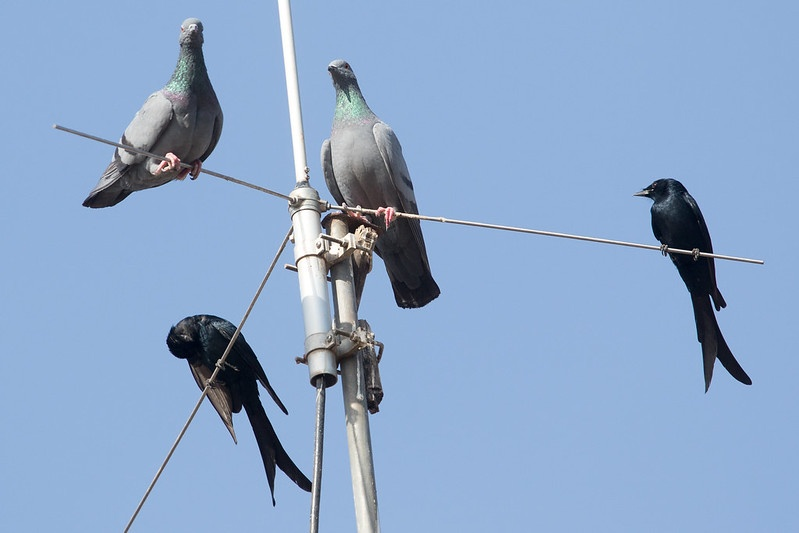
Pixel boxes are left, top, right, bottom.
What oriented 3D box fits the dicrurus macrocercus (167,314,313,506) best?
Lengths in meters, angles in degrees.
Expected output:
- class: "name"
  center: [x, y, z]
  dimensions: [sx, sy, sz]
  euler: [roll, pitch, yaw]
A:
- class: "dicrurus macrocercus"
  center: [-1.530, 1.176, 13.290]
  dimensions: [1.999, 0.774, 0.701]
  euler: [51, -39, -3]
